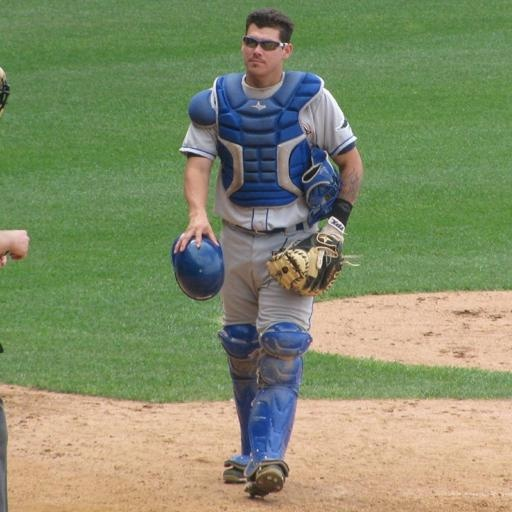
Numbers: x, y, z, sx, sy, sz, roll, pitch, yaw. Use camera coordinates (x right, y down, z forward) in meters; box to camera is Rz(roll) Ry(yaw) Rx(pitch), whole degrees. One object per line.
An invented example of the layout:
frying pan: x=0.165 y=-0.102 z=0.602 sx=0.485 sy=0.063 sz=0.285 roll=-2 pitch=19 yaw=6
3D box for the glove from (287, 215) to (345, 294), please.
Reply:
glove: x=0.678 y=0.004 z=16.786 sx=0.492 sy=0.801 sz=0.327 roll=9 pitch=-8 yaw=-26

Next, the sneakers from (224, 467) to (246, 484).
sneakers: x=-0.261 y=2.486 z=17.273 sx=0.288 sy=0.169 sz=0.113 roll=2 pitch=-2 yaw=-2

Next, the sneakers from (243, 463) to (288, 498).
sneakers: x=0.089 y=2.457 z=16.708 sx=0.244 sy=0.570 sz=0.280 roll=14 pitch=44 yaw=-9

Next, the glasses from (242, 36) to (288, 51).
glasses: x=0.084 y=-2.316 z=16.767 sx=0.462 sy=0.146 sz=0.101 roll=3 pitch=11 yaw=-2
